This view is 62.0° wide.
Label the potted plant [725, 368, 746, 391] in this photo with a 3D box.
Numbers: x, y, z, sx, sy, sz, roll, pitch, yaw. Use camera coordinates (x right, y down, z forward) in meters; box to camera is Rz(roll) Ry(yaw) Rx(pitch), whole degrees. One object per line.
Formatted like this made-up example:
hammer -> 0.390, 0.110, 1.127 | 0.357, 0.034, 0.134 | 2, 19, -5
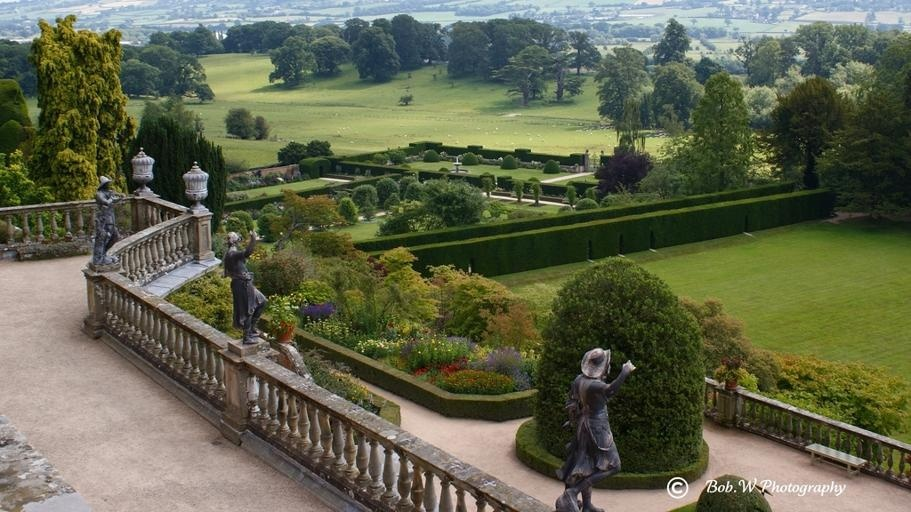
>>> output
potted plant -> 7.877, 3.539, 21.728 | 0.595, 0.611, 0.571 | 1, 7, -4
